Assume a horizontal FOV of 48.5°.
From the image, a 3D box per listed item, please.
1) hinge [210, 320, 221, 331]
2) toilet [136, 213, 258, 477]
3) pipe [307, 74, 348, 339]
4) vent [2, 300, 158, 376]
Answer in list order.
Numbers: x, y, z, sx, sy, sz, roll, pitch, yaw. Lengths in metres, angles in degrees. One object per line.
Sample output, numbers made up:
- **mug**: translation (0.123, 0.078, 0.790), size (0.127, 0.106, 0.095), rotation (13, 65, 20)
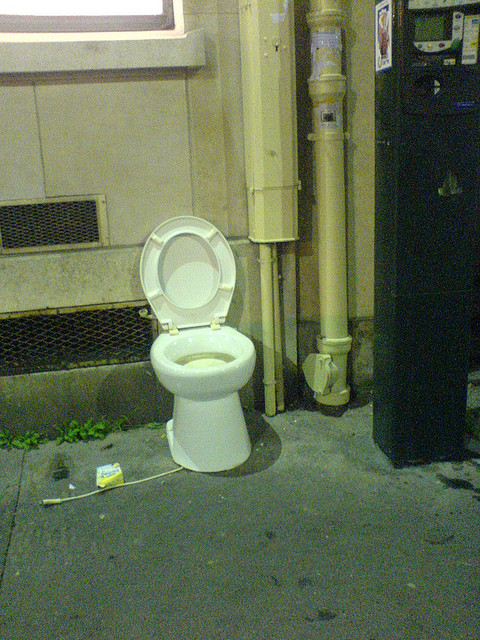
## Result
- **hinge**: translation (-0.103, 0.025, 2.201), size (0.026, 0.013, 0.046), rotation (-2, 58, -11)
- **toilet**: translation (-0.152, 0.073, 2.102), size (0.465, 0.947, 0.607), rotation (-5, 13, -13)
- **pipe**: translation (0.369, -0.438, 2.222), size (0.160, 1.075, 0.143), rotation (1, 12, 12)
- **vent**: translation (-0.684, 0.070, 2.286), size (0.658, 0.268, 0.032), rotation (-5, 12, -10)
